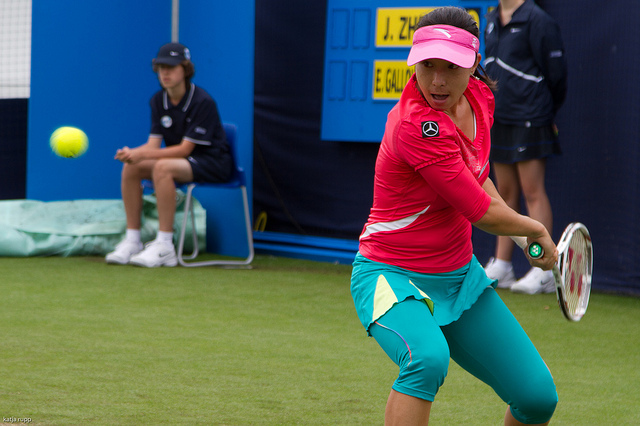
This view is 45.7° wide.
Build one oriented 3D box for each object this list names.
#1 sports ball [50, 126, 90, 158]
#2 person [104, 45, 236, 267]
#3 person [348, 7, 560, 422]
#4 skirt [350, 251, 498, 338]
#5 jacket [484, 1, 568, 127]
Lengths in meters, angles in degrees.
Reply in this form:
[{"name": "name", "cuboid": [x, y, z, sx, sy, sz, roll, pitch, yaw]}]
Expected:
[{"name": "sports ball", "cuboid": [-1.959, -0.578, 5.919, 0.239, 0.208, 0.217, -1, -21, 0]}, {"name": "person", "cuboid": [-1.211, -0.436, 5.783, 0.908, 1.647, 0.700, 7, 13, 28]}, {"name": "person", "cuboid": [0.562, 0.027, 3.188, 0.823, 1.724, 0.524, -2, 11, -14]}, {"name": "skirt", "cuboid": [0.446, 0.345, 3.231, 0.622, 0.299, 0.254, 1, 12, -4]}, {"name": "jacket", "cuboid": [1.403, -1.019, 5.213, 0.536, 0.838, 0.184, 5, 11, 16]}]
